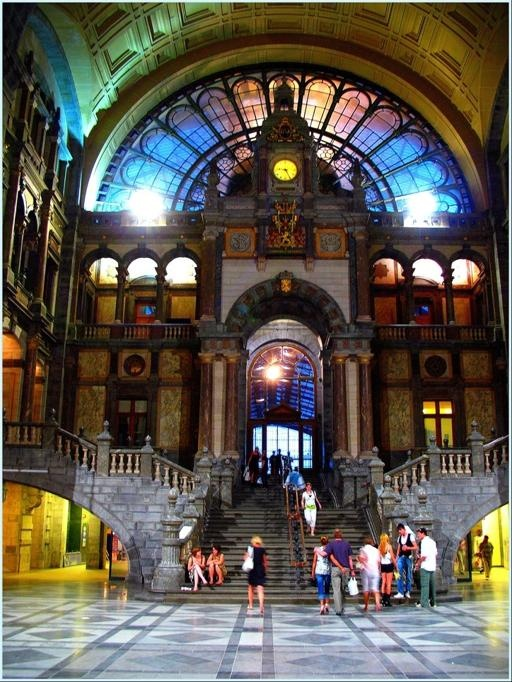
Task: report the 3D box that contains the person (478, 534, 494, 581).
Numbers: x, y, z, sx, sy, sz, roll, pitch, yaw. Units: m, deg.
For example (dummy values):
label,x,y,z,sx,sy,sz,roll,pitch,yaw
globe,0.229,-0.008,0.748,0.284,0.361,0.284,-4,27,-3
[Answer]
label,x,y,z,sx,sy,sz,roll,pitch,yaw
person,8.939,8.312,19.750,0.476,1.480,2.338,-7,-16,22

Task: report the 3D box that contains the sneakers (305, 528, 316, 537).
label,x,y,z,sx,sy,sz,roll,pitch,yaw
sneakers,1.710,5.762,15.426,0.157,0.203,0.472,0,-15,-1

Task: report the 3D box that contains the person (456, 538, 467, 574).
label,x,y,z,sx,sy,sz,roll,pitch,yaw
person,8.250,8.538,20.388,0.414,1.251,1.908,-6,-16,19

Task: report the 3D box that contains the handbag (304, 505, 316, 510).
label,x,y,z,sx,sy,sz,roll,pitch,yaw
handbag,1.653,4.939,15.141,0.310,0.159,0.268,0,-15,-3
